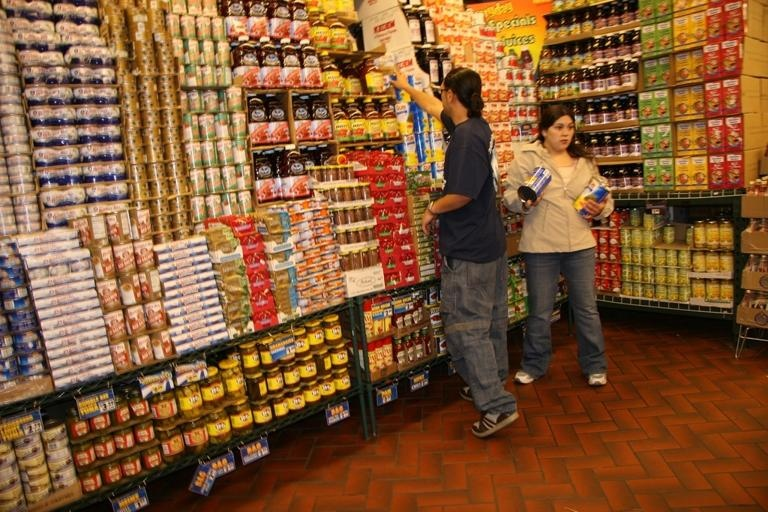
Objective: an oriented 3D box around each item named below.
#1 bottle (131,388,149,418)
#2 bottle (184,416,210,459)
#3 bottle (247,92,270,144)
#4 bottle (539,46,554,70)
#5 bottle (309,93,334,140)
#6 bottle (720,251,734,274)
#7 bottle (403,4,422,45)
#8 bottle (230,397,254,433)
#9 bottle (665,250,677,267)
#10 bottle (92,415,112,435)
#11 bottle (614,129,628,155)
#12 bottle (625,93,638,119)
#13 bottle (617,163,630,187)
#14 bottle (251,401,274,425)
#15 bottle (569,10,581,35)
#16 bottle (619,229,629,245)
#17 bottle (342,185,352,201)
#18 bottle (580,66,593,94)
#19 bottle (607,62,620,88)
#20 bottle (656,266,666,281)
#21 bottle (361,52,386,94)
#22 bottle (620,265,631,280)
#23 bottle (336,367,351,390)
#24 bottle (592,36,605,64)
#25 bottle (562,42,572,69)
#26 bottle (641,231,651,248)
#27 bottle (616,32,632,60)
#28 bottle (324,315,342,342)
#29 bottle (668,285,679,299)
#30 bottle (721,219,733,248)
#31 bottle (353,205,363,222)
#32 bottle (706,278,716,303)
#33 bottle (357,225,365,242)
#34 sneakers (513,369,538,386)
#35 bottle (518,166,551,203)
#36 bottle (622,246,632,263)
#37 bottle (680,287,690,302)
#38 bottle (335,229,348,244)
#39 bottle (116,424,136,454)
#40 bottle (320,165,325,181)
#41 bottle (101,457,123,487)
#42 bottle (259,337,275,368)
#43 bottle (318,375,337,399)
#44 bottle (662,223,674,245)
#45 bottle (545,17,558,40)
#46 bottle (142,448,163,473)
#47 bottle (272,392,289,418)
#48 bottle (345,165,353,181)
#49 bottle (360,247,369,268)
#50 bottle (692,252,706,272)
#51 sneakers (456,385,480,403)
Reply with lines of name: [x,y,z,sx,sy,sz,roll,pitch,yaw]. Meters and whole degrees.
bottle: [-1.730,1.020,3.712,0.110,0.181,0.111,-7,15,2]
bottle: [-1.377,1.303,3.853,0.176,0.245,0.107,-14,17,-23]
bottle: [-1.039,-1.115,4.323,0.168,0.409,0.262,-10,16,-6]
bottle: [2.027,-2.403,6.442,0.206,0.289,0.156,8,22,44]
bottle: [-0.550,-1.173,4.577,0.216,0.340,0.113,-13,16,-18]
bottle: [3.477,0.059,5.305,0.121,0.198,0.099,2,18,30]
bottle: [0.292,-2.235,5.123,0.118,0.357,0.226,5,20,39]
bottle: [-1.101,1.201,4.044,0.181,0.241,0.096,-14,17,-23]
bottle: [3.076,0.013,5.577,0.106,0.184,0.060,-1,17,22]
bottle: [-1.929,1.122,3.573,0.122,0.105,0.123,0,-1,41]
bottle: [2.710,-1.257,5.956,0.139,0.264,0.180,-2,16,19]
bottle: [2.782,-1.649,5.862,0.120,0.264,0.189,-1,16,22]
bottle: [2.755,-0.905,5.989,0.131,0.239,0.186,-2,16,18]
bottle: [-0.950,1.204,4.097,0.196,0.170,0.175,-4,11,-12]
bottle: [2.263,-2.703,6.164,0.123,0.238,0.125,-7,16,2]
bottle: [2.699,-0.216,5.828,0.107,0.190,0.050,-2,17,18]
bottle: [-0.293,-0.515,4.342,0.107,0.135,0.103,1,4,0]
bottle: [2.352,-2.010,6.049,0.135,0.271,0.086,2,19,31]
bottle: [2.601,-2.015,5.885,0.128,0.264,0.127,-7,16,2]
bottle: [2.995,0.202,5.652,0.100,0.178,0.064,1,18,29]
bottle: [-0.091,-1.710,4.997,0.213,0.362,0.170,-7,16,2]
bottle: [2.732,0.180,5.872,0.103,0.176,0.054,0,18,26]
bottle: [-0.355,1.030,4.453,0.130,0.195,0.077,-13,16,-18]
bottle: [2.489,-2.357,6.036,0.141,0.257,0.201,-1,16,21]
bottle: [2.207,-2.376,6.298,0.113,0.267,0.171,-2,16,21]
bottle: [2.880,-0.186,5.705,0.103,0.188,0.042,2,19,32]
bottle: [2.700,-2.342,5.854,0.151,0.257,0.230,-7,15,1]
bottle: [-0.433,0.603,4.446,0.148,0.221,0.073,-12,16,-16]
bottle: [3.114,0.386,5.610,0.135,0.119,0.130,2,4,22]
bottle: [3.456,-0.216,5.272,0.122,0.265,0.115,-7,16,2]
bottle: [-0.216,-0.337,4.371,0.116,0.101,0.104,1,7,-8]
bottle: [3.399,0.348,5.393,0.113,0.211,0.091,1,18,27]
bottle: [-0.184,-0.183,4.382,0.086,0.119,0.017,-16,18,-28]
sneakers: [1.347,1.151,5.004,0.099,0.081,0.224,-1,-3,44]
bottle: [1.316,-0.608,4.515,0.325,0.208,0.185,-47,-5,-34]
bottle: [2.722,-0.009,5.839,0.093,0.176,0.046,-2,17,19]
bottle: [3.192,0.397,5.543,0.090,0.146,0.068,-1,17,23]
bottle: [-0.333,-0.157,4.314,0.115,0.102,0.106,-5,4,-33]
bottle: [-1.805,1.251,3.667,0.171,0.154,0.155,-2,3,-26]
bottle: [-0.492,-0.673,4.318,0.043,0.113,0.050,-4,16,13]
bottle: [-1.858,1.456,3.607,0.167,0.147,0.150,0,0,-15]
bottle: [-0.919,0.739,4.137,0.121,0.231,0.070,-12,16,-15]
bottle: [-0.470,1.070,4.398,0.139,0.182,0.063,-11,16,-13]
bottle: [3.130,-0.244,5.752,0.104,0.181,0.188,-1,16,21]
bottle: [2.050,-2.736,6.334,0.165,0.269,0.136,4,20,36]
bottle: [-1.622,1.429,3.732,0.162,0.145,0.147,-1,2,2]
bottle: [-0.825,1.168,4.181,0.125,0.191,0.056,-12,16,-18]
bottle: [-0.289,-0.691,4.395,0.054,0.125,0.097,-5,15,12]
bottle: [-0.158,0.007,4.393,0.114,0.161,0.034,-21,20,-40]
bottle: [3.282,0.053,5.434,0.121,0.204,0.077,0,18,26]
sneakers: [0.769,1.251,4.822,0.110,0.093,0.255,-2,10,-10]
